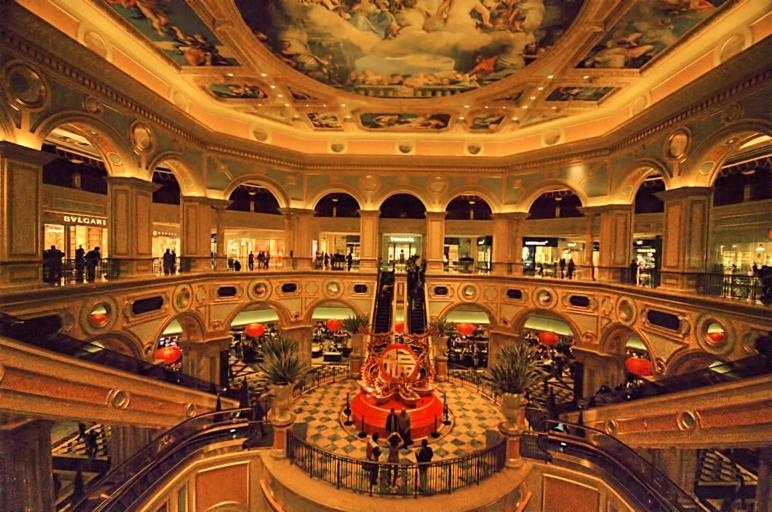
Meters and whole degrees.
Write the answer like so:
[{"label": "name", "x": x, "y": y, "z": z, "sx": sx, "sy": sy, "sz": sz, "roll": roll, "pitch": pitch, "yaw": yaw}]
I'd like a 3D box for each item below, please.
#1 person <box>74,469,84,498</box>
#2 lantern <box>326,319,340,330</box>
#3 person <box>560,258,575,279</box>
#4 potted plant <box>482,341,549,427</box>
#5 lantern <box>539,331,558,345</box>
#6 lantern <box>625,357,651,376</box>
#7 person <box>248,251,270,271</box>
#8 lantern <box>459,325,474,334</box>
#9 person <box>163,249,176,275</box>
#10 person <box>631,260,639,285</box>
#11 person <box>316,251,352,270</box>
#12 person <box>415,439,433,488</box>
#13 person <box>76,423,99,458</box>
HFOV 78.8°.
[{"label": "person", "x": -10.091, "y": 7.447, "z": 15.493, "sx": 0.306, "sy": 0.518, "sz": 1.564, "roll": 3, "pitch": -5, "yaw": -34}, {"label": "lantern", "x": -2.394, "y": 3.172, "z": 21.501, "sx": 0.580, "sy": 0.446, "sz": 0.537, "roll": -1, "pitch": -1, "yaw": 4}, {"label": "person", "x": 8.222, "y": 0.618, "z": 21.364, "sx": 0.692, "sy": 0.904, "sz": 1.818, "roll": -2, "pitch": -5, "yaw": 20}, {"label": "potted plant", "x": 4.082, "y": 4.294, "z": 15.289, "sx": 1.731, "sy": 2.715, "sz": 0.999, "roll": 0, "pitch": -4, "yaw": -4}, {"label": "lantern", "x": 6.883, "y": 3.500, "z": 20.034, "sx": 0.704, "sy": 0.360, "sz": 0.652, "roll": 2, "pitch": -5, "yaw": 1}, {"label": "lantern", "x": 9.224, "y": 4.016, "z": 17.104, "sx": 0.908, "sy": 0.656, "sz": 0.457, "roll": 1, "pitch": -4, "yaw": -12}, {"label": "person", "x": -6.256, "y": 0.273, "z": 23.217, "sx": 0.650, "sy": 0.735, "sz": 1.200, "roll": -1, "pitch": 0, "yaw": 42}, {"label": "lantern", "x": 3.458, "y": 3.212, "z": 20.552, "sx": 0.616, "sy": 0.428, "sz": 0.740, "roll": -1, "pitch": -4, "yaw": 8}, {"label": "person", "x": -8.704, "y": 0.282, "z": 18.973, "sx": 0.443, "sy": 0.976, "sz": 1.210, "roll": 2, "pitch": -5, "yaw": -23}, {"label": "person", "x": 9.820, "y": 0.665, "z": 18.637, "sx": 0.308, "sy": 0.919, "sz": 0.708, "roll": -2, "pitch": -5, "yaw": 25}, {"label": "person", "x": -2.618, "y": 0.346, "z": 23.535, "sx": 1.848, "sy": 0.838, "sz": 0.843, "roll": -1, "pitch": -4, "yaw": 10}, {"label": "person", "x": 1.209, "y": 6.520, "z": 14.904, "sx": 0.535, "sy": 1.414, "sz": 1.595, "roll": 0, "pitch": -4, "yaw": 5}, {"label": "person", "x": -10.944, "y": 6.765, "z": 17.379, "sx": 0.624, "sy": 0.929, "sz": 1.676, "roll": 3, "pitch": -5, "yaw": -33}]
